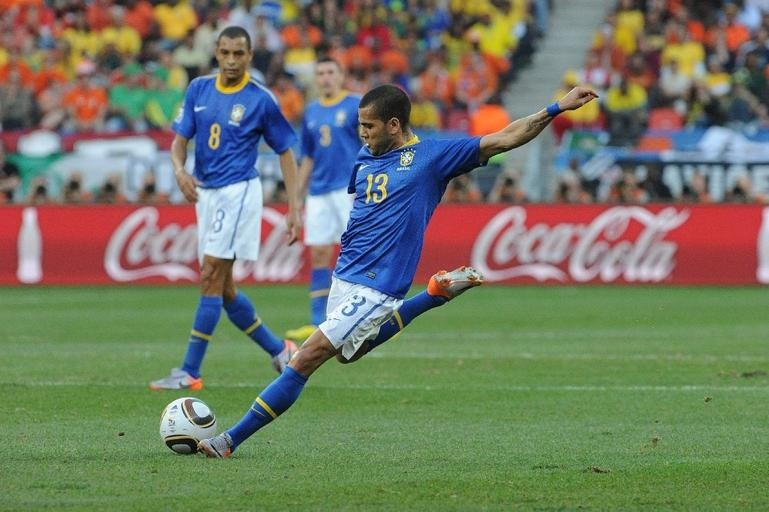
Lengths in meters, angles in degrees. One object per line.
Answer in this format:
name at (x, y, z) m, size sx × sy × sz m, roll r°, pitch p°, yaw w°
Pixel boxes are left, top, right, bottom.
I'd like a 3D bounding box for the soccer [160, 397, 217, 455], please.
soccer at (-1.622, 1.406, 10.580) m, size 0.492 × 0.442 × 0.440 m, roll -16°, pitch -35°, yaw -12°
